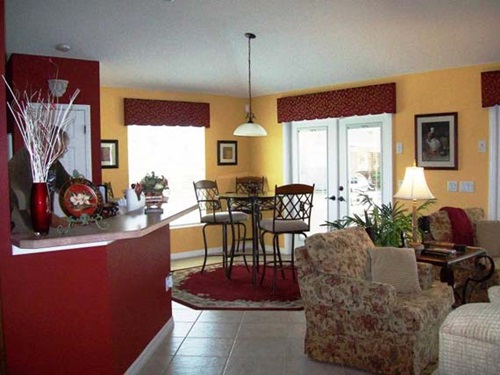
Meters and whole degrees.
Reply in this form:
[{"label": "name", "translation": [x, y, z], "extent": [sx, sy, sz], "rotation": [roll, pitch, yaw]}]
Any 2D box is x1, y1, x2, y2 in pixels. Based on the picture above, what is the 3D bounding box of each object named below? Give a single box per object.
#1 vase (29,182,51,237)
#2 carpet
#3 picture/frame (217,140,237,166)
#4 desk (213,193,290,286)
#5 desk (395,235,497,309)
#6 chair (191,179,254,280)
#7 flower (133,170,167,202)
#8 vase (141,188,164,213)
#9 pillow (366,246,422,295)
[{"label": "vase", "translation": [-1.420, 0.145, 2.568], "extent": [0.125, 0.360, 0.103], "rotation": [-5, 6, -31]}, {"label": "carpet", "translation": [-0.241, 1.329, 5.132], "extent": [1.806, 0.051, 1.497], "rotation": [-1, 5, 4]}, {"label": "picture/frame", "translation": [-0.463, -0.657, 7.143], "extent": [0.492, 0.548, 0.040], "rotation": [0, 5, -35]}, {"label": "desk", "translation": [0.103, 0.660, 5.585], "extent": [1.086, 1.277, 1.116], "rotation": [-1, -3, 13]}, {"label": "desk", "translation": [2.055, 0.784, 4.110], "extent": [0.862, 0.890, 0.898], "rotation": [-8, 10, -41]}, {"label": "chair", "translation": [-0.441, 0.618, 6.128], "extent": [0.800, 1.483, 0.799], "rotation": [-3, 1, -20]}, {"label": "flower", "translation": [-0.954, 0.013, 3.894], "extent": [0.417, 0.298, 0.412], "rotation": [6, -10, -44]}, {"label": "vase", "translation": [-0.934, 0.125, 3.651], "extent": [0.213, 0.212, 0.216], "rotation": [0, -1, -3]}, {"label": "pillow", "translation": [1.247, 0.741, 3.330], "extent": [0.366, 0.360, 0.132], "rotation": [1, -28, -1]}]
